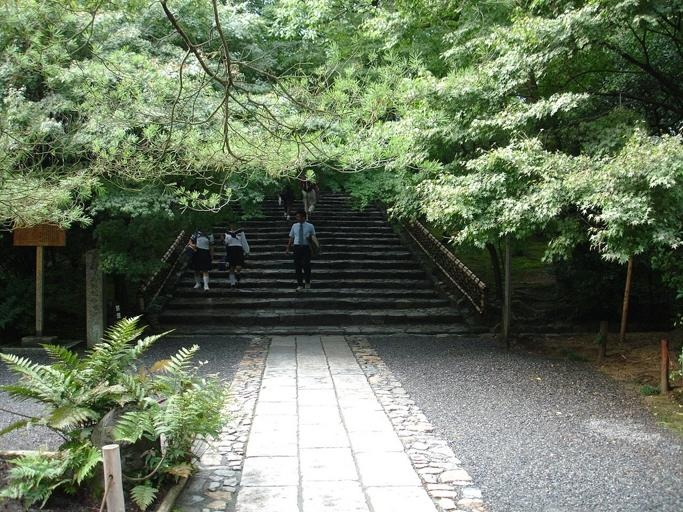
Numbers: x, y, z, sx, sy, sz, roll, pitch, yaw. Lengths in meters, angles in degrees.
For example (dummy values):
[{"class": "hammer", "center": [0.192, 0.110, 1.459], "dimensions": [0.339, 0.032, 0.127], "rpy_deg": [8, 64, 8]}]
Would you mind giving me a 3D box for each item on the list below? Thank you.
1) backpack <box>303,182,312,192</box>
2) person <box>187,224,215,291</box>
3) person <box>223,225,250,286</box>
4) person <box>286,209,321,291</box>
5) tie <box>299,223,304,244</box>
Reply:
[{"class": "backpack", "center": [-1.027, -2.060, 16.731], "dimensions": [0.439, 0.252, 0.383], "rpy_deg": [1, 5, 3]}, {"class": "person", "center": [-3.534, 0.094, 14.213], "dimensions": [0.495, 1.527, 0.794], "rpy_deg": [-2, 9, -12]}, {"class": "person", "center": [-2.730, 0.013, 14.542], "dimensions": [0.566, 1.516, 0.792], "rpy_deg": [-2, 9, -11]}, {"class": "person", "center": [-0.989, -0.142, 14.170], "dimensions": [0.761, 1.970, 1.253], "rpy_deg": [-1, 9, -6]}, {"class": "tie", "center": [-0.989, -0.527, 13.717], "dimensions": [0.100, 0.511, 0.045], "rpy_deg": [0, 9, -3]}]
